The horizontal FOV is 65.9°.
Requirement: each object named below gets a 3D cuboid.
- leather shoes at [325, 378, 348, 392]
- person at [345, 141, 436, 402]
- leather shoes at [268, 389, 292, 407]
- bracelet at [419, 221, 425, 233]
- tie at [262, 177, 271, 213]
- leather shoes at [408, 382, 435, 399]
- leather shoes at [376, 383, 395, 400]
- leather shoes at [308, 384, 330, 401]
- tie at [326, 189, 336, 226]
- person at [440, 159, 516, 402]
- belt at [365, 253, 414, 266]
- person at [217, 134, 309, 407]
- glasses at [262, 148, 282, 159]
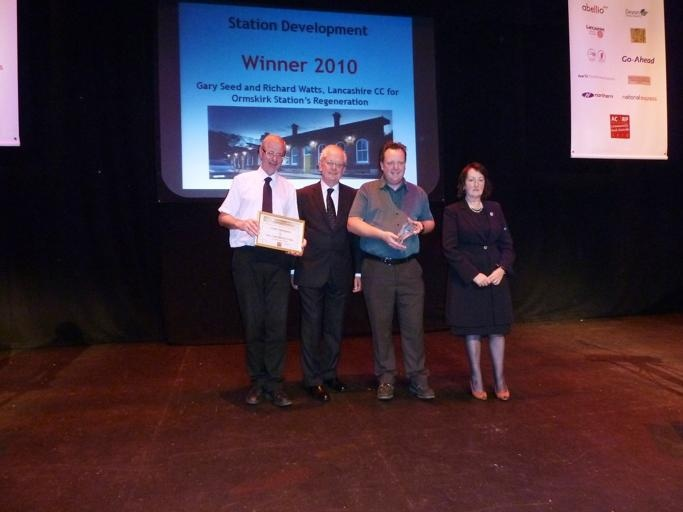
[{"bbox_3d":[-0.044,0.972,4.020,0.071,0.087,0.189,1,-4,-43],"label":"leather shoes"},{"bbox_3d":[0.365,0.105,3.817,0.637,1.820,0.454,0,8,2],"label":"person"},{"bbox_3d":[-0.439,0.990,3.731,0.072,0.084,0.195,-3,0,-31],"label":"leather shoes"},{"bbox_3d":[0.568,-0.204,3.660,0.023,0.070,0.057,0,-8,-1],"label":"bracelet"},{"bbox_3d":[-0.535,-0.437,3.734,0.077,0.237,0.100,-2,9,-9],"label":"tie"},{"bbox_3d":[0.585,0.960,3.801,0.076,0.087,0.201,1,-5,-24],"label":"leather shoes"},{"bbox_3d":[0.319,0.959,3.766,0.120,0.107,0.089,-1,9,0],"label":"leather shoes"},{"bbox_3d":[-0.160,0.979,3.804,0.074,0.082,0.181,-3,-3,-27],"label":"leather shoes"},{"bbox_3d":[-0.079,-0.365,3.813,0.066,0.250,0.074,-2,9,-9],"label":"tie"},{"bbox_3d":[0.994,0.169,3.806,0.500,1.654,0.438,2,9,17],"label":"person"},{"bbox_3d":[0.342,0.018,3.793,0.373,0.080,0.108,0,9,6],"label":"belt"},{"bbox_3d":[-0.586,0.093,3.735,0.552,1.854,0.466,-1,8,-4],"label":"person"},{"bbox_3d":[-0.491,-0.706,3.668,0.162,0.061,0.078,-1,9,1],"label":"glasses"}]
